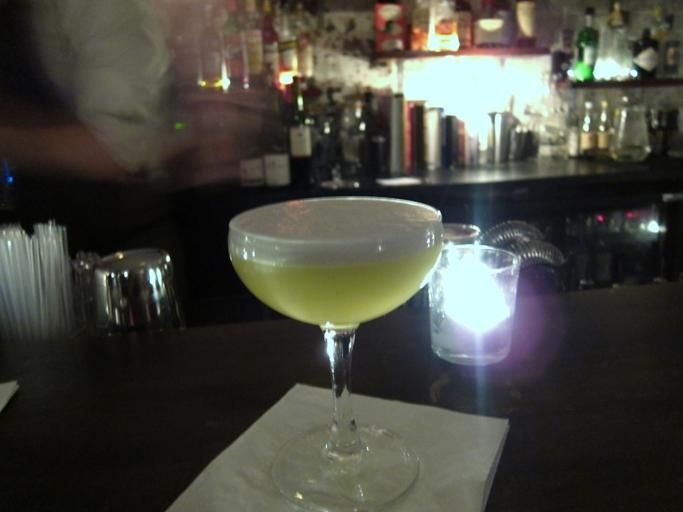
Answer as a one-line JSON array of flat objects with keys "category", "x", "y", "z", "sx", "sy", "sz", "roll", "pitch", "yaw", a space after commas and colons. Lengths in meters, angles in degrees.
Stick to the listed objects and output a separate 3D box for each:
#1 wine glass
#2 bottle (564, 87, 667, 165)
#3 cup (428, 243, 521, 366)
[{"category": "wine glass", "x": 0.007, "y": 0.106, "z": 0.740, "sx": 0.245, "sy": 0.357, "sz": 0.217, "roll": -9, "pitch": 10, "yaw": -33}, {"category": "bottle", "x": 1.418, "y": -0.659, "z": 2.893, "sx": 0.411, "sy": 0.401, "sz": 0.234, "roll": -1, "pitch": -1, "yaw": 3}, {"category": "cup", "x": 0.201, "y": 0.073, "z": 0.941, "sx": 0.162, "sy": 0.199, "sz": 0.174, "roll": 0, "pitch": 4, "yaw": 0}]
